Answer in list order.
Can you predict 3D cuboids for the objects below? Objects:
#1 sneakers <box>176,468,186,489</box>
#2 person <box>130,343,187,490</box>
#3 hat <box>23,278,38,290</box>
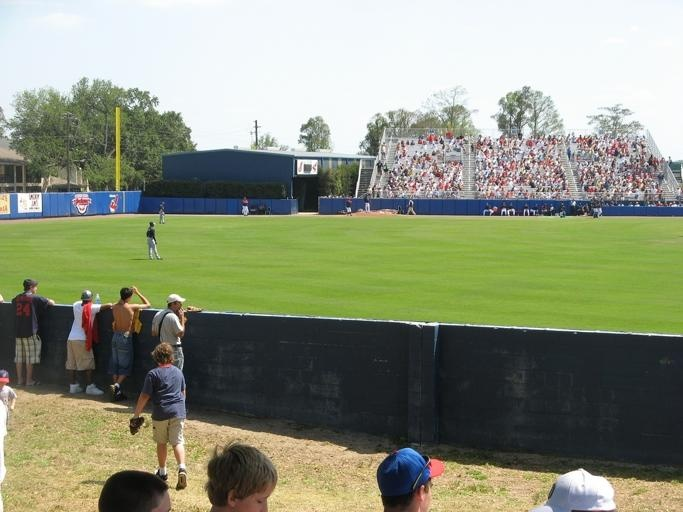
[{"bbox_3d":[-3.041,4.230,20.635,0.202,0.293,0.258,1,-1,-6],"label":"sneakers"},{"bbox_3d":[-3.445,3.057,20.848,1.021,2.079,0.748,1,-1,-6],"label":"person"},{"bbox_3d":[-7.169,0.697,24.871,0.317,0.270,0.355,1,12,-5],"label":"hat"}]
